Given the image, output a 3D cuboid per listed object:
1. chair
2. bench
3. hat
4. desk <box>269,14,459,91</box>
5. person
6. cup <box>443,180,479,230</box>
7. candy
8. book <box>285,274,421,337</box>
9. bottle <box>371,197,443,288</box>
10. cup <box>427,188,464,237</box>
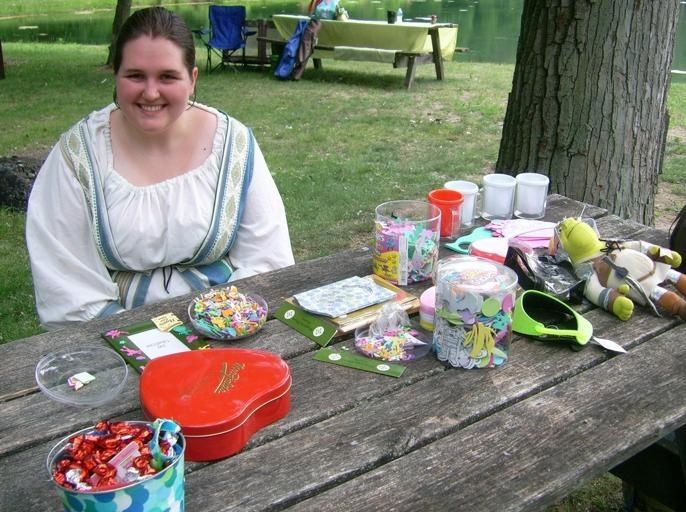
[{"bbox_3d":[-1.997,-3.964,11.358,1.299,1.407,1.234,-8,25,-24],"label":"chair"},{"bbox_3d":[0.286,-3.276,10.386,2.426,0.729,0.937,14,27,25],"label":"bench"},{"bbox_3d":[0.586,0.194,1.798,0.223,0.110,0.161,27,39,37],"label":"hat"},{"bbox_3d":[0.291,-3.404,10.315,3.072,1.022,1.210,12,27,21],"label":"desk"},{"bbox_3d":[-0.777,-0.228,2.449,0.784,1.384,0.802,-13,29,-28],"label":"person"},{"bbox_3d":[0.458,-0.188,2.378,0.097,0.189,0.129,12,30,43],"label":"cup"},{"bbox_3d":[-0.457,0.401,1.218,0.152,0.049,0.156,0,12,-1],"label":"candy"},{"bbox_3d":[0.040,0.158,1.857,0.316,0.040,0.299,-15,25,-39],"label":"book"},{"bbox_3d":[0.198,-0.070,2.094,0.284,0.293,0.279,1,30,2],"label":"bottle"},{"bbox_3d":[0.384,-0.156,2.264,0.128,0.160,0.182,-4,29,-2],"label":"cup"}]
